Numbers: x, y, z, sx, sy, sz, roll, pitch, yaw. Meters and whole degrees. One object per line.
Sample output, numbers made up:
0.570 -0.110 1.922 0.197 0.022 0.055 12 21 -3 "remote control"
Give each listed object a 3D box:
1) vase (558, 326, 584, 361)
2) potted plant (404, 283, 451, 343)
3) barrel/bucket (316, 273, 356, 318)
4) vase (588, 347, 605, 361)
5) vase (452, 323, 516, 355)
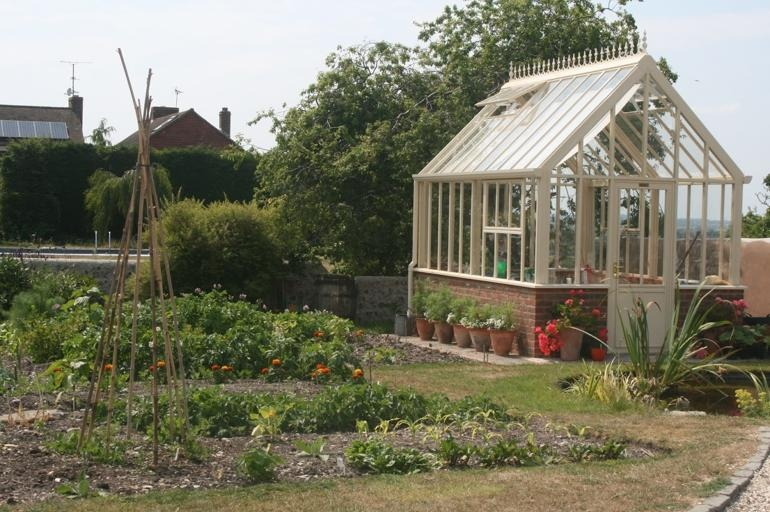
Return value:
4.061 1.916 28.172 0.620 0.761 0.668 3 3 17 "vase"
1.152 1.353 30.574 1.094 1.594 1.425 2 -3 -12 "potted plant"
-1.296 1.054 33.365 1.075 1.114 0.383 1 -3 -6 "barrel/bucket"
4.684 2.158 28.051 0.276 0.242 0.263 1 2 -13 "vase"
2.308 1.857 28.859 1.051 0.457 0.650 -2 -2 19 "vase"
